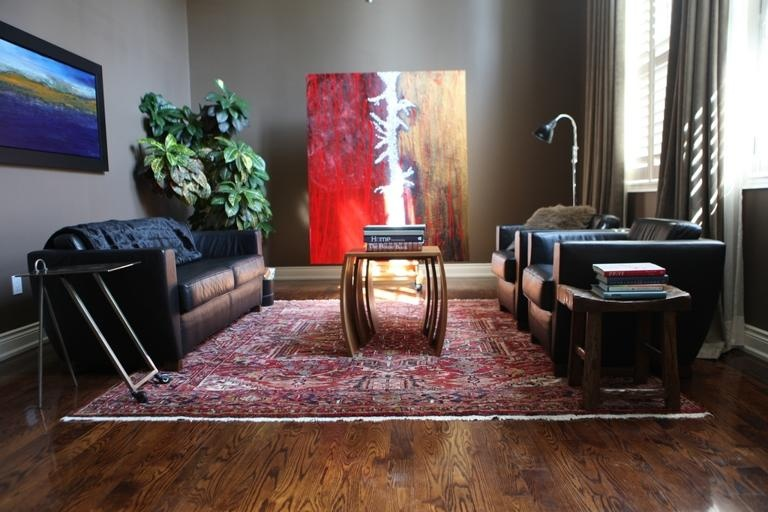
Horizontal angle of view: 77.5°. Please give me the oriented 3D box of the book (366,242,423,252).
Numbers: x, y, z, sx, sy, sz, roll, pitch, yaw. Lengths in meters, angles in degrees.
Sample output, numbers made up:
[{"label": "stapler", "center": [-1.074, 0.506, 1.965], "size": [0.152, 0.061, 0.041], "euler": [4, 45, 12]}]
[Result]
[{"label": "book", "center": [0.071, -0.063, 3.447], "size": [0.403, 0.077, 0.090], "euler": [-4, 13, -2]}]

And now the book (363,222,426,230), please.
[{"label": "book", "center": [0.069, -0.199, 3.468], "size": [0.424, 0.044, 0.057], "euler": [-3, 13, 4]}]

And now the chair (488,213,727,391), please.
[{"label": "chair", "center": [1.509, 0.132, 3.306], "size": [0.938, 0.917, 1.655], "euler": [-1, 2, 6]}]

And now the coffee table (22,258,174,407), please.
[{"label": "coffee table", "center": [-1.803, 0.487, 2.997], "size": [0.681, 0.852, 0.562], "euler": [-4, 6, -16]}]

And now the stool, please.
[{"label": "stool", "center": [1.400, 0.516, 2.851], "size": [0.627, 0.677, 0.638], "euler": [-3, 6, 5]}]
